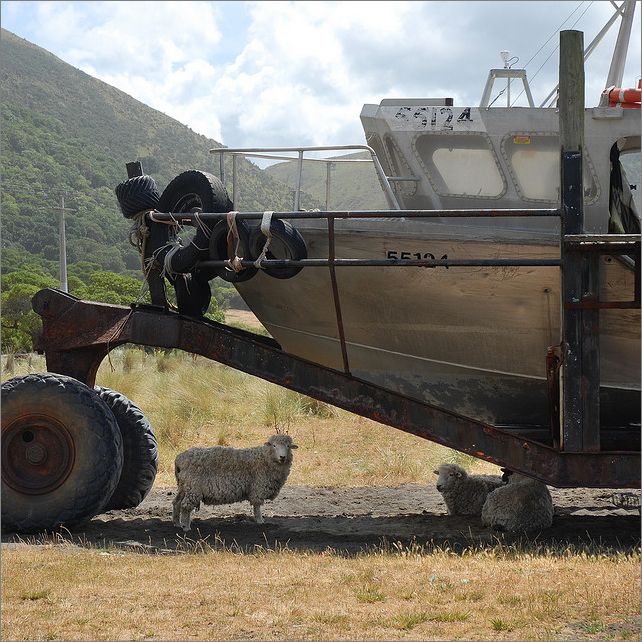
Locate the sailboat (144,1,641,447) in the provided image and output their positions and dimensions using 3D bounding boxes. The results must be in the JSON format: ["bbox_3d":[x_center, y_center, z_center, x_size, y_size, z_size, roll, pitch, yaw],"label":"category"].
[{"bbox_3d":[1.101,-0.635,9.509,6.044,2.976,2.749,0,-1,7],"label":"sailboat"}]

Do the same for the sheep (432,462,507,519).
[{"bbox_3d":[1.309,1.614,9.581,0.743,0.551,0.375,0,-10,-3],"label":"sheep"}]
